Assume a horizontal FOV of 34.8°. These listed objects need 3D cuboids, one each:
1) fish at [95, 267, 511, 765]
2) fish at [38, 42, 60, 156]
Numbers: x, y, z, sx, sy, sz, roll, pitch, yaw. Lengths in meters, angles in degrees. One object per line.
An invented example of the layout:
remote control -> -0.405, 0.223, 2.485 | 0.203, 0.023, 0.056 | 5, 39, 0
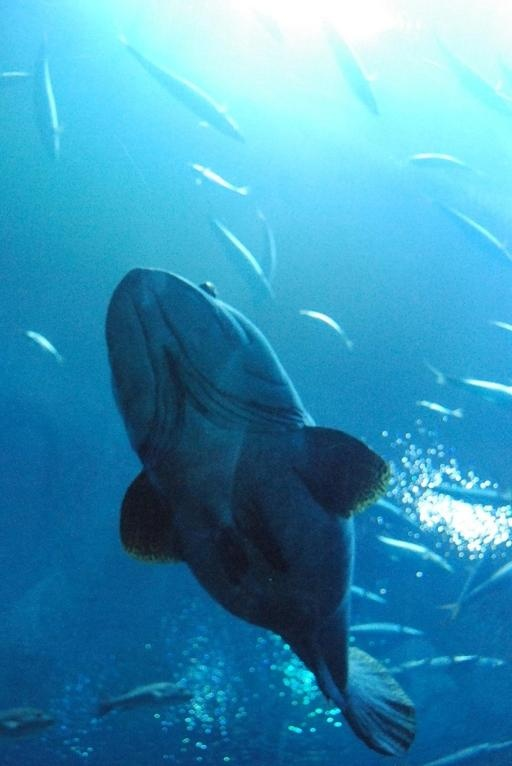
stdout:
fish -> -0.014, 0.305, 2.345 | 1.279, 0.686, 0.512 | 61, 16, -10
fish -> -0.915, -1.259, 3.647 | 0.101, 0.125, 0.454 | -2, 86, -44
